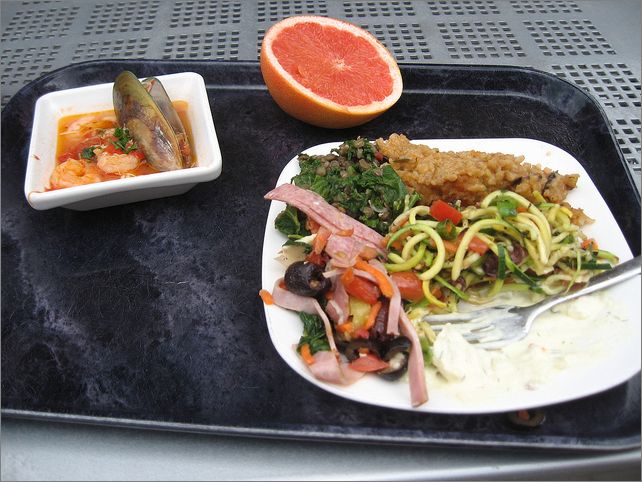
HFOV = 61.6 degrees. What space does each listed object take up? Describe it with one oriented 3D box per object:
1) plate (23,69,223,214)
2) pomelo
[{"bbox_3d":[-1.056,-0.583,2.875,0.964,0.313,0.784,-12,73,-6],"label":"plate"},{"bbox_3d":[0.048,-1.041,3.118,0.736,0.309,0.738,3,60,-21],"label":"pomelo"}]
